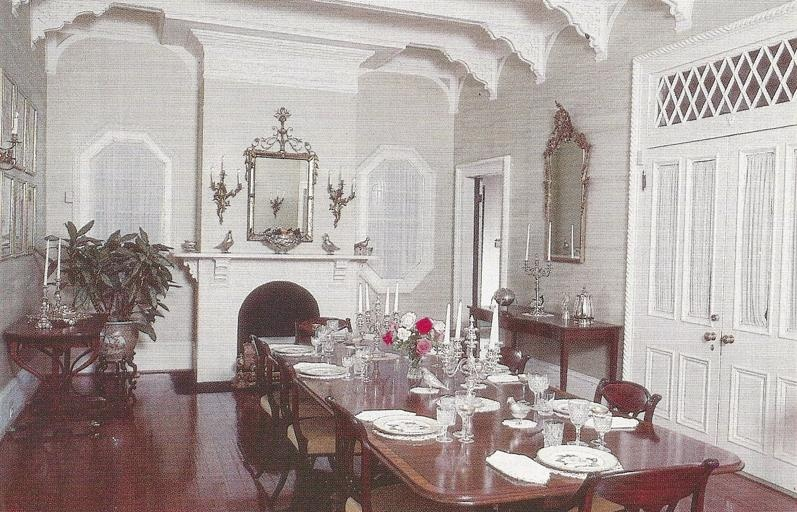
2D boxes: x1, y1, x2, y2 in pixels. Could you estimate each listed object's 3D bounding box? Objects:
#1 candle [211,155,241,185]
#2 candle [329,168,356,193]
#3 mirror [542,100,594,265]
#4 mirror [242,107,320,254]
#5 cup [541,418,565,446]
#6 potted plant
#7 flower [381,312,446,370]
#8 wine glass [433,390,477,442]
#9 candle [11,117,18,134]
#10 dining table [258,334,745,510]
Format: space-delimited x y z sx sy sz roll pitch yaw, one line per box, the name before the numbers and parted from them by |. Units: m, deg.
candle | -1.974 -0.965 7.778 0.328 0.292 0.301 0 3 -26
candle | -0.685 -0.891 8.156 0.312 0.255 0.070 2 2 -13
mirror | 1.765 -0.784 7.328 0.078 1.735 0.912 -3 4 -22
mirror | -1.330 -0.868 7.885 0.841 1.617 0.400 -1 12 -11
cup | 0.907 1.017 4.056 0.162 0.161 0.155 -1 -3 0
potted plant | -2.870 0.225 7.479 1.857 1.691 1.306 3 -6 -39
flower | 0.087 0.628 5.044 0.383 0.307 0.353 3 30 18
wine glass | 0.316 0.975 4.190 0.275 0.272 0.281 0 -4 -2
candle | -3.002 -1.022 5.397 0.036 0.121 0.358 -6 13 -30
dining table | 0.506 1.206 4.277 2.745 0.647 1.400 7 13 32
